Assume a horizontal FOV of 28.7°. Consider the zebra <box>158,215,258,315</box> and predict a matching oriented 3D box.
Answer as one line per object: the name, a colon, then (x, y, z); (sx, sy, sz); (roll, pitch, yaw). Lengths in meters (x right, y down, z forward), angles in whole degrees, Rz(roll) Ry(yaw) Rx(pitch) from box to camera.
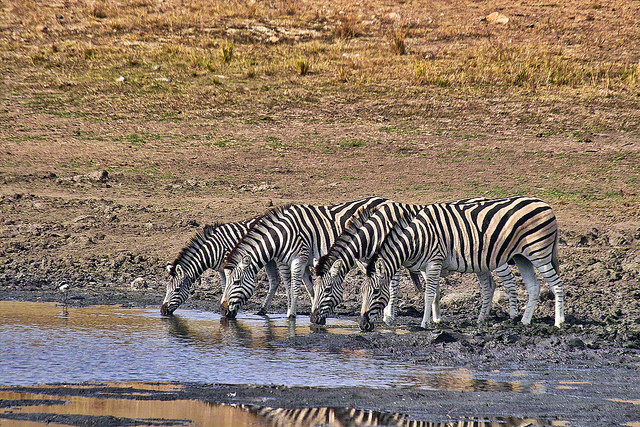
zebra: (-2.681, 1.344, 30.106); (3.128, 1.548, 0.737); (-34, 21, -15)
